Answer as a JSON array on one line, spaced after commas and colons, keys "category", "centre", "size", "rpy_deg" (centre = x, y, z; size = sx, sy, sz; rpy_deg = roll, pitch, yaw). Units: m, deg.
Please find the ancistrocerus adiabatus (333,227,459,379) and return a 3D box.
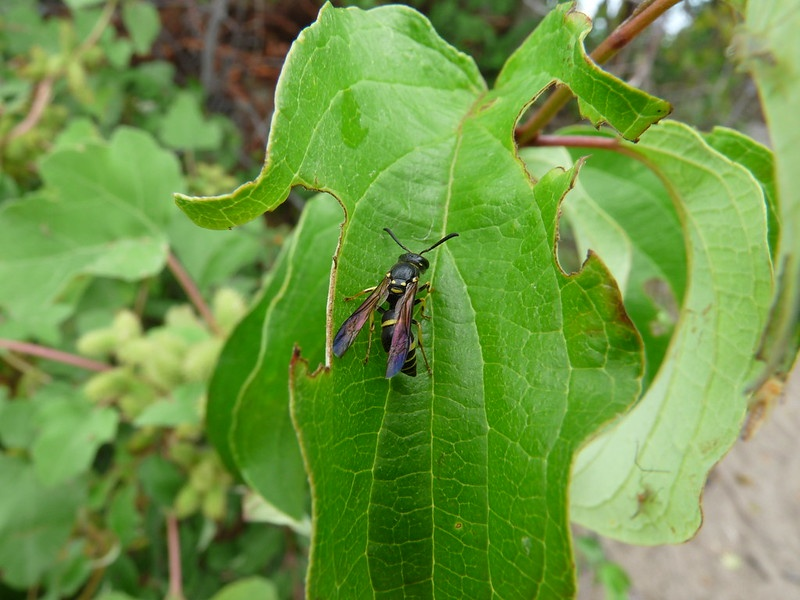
[{"category": "ancistrocerus adiabatus", "centre": [-0.012, 0.011, 1.848], "size": [0.242, 0.267, 0.328], "rpy_deg": [17, 47, -7]}]
